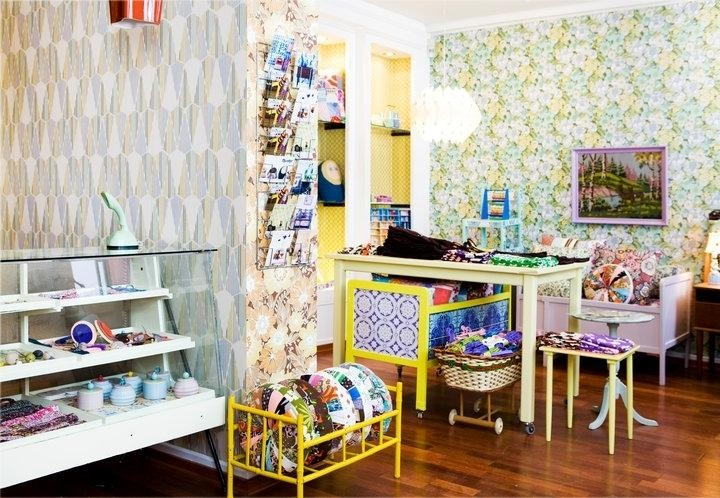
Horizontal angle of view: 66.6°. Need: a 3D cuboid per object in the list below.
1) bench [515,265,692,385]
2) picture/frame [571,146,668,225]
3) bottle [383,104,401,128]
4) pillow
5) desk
[{"bbox_3d":[2.649,0.391,5.652,1.854,1.110,1.084,1,0,36],"label":"bench"},{"bbox_3d":[2.944,-0.707,6.093,0.930,0.790,0.067,1,2,32],"label":"picture/frame"},{"bbox_3d":[0.425,-1.678,6.910,0.198,0.328,0.414,1,5,3],"label":"bottle"},{"bbox_3d":[2.717,0.203,5.836,0.957,0.410,0.905,6,20,27],"label":"pillow"},{"bbox_3d":[0.931,0.345,4.577,1.833,1.330,1.361,1,-1,35],"label":"desk"}]
